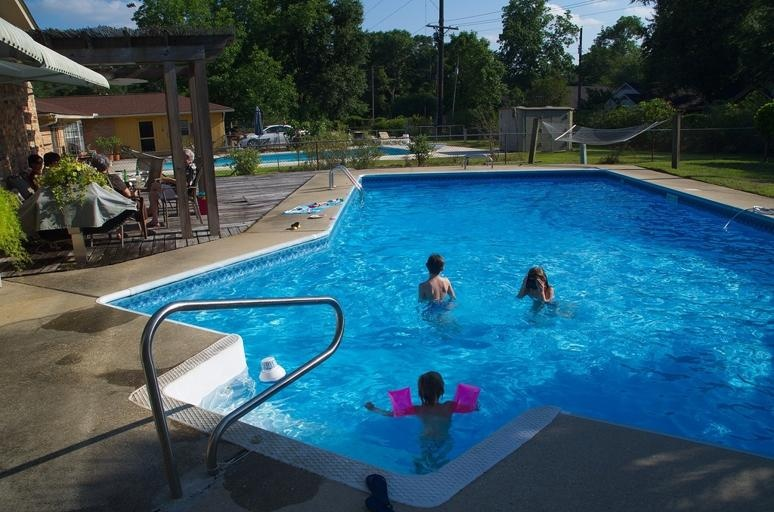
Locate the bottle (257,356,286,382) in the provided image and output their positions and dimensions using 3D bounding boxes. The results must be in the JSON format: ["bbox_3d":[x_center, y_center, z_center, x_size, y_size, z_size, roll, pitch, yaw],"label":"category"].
[{"bbox_3d":[-1.397,1.360,6.179,0.289,0.288,0.261,-4,13,-9],"label":"bottle"}]

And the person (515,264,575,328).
[{"bbox_3d":[2.392,0.532,7.888,0.768,0.820,0.583,-9,21,-3],"label":"person"}]

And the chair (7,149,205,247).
[{"bbox_3d":[-5.095,-1.005,8.944,1.615,1.218,1.947,2,8,-3],"label":"chair"}]

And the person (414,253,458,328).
[{"bbox_3d":[0.720,0.470,7.562,0.539,1.076,0.530,-2,13,4],"label":"person"}]

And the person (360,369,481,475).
[{"bbox_3d":[0.415,1.592,5.439,0.759,0.925,0.809,-9,14,-29],"label":"person"}]
